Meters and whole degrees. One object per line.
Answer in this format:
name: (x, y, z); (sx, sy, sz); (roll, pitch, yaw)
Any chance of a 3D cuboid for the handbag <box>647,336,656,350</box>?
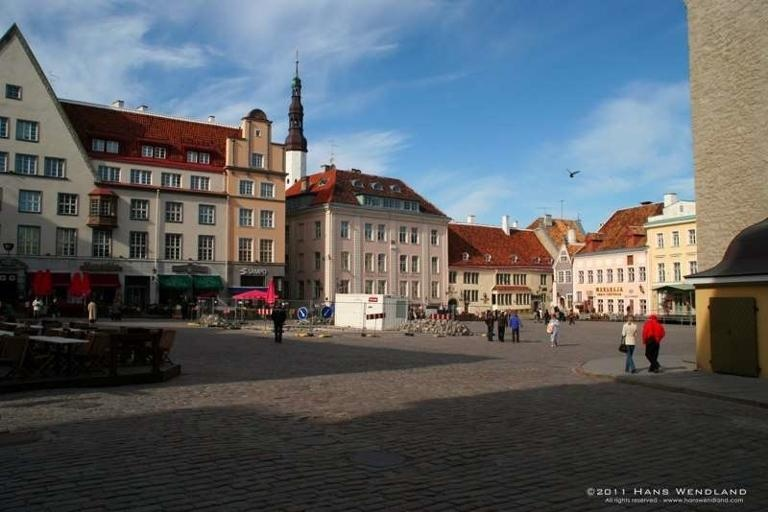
handbag: (8.784, 2.869, 22.183); (0.310, 0.333, 0.343); (8, 0, -34)
